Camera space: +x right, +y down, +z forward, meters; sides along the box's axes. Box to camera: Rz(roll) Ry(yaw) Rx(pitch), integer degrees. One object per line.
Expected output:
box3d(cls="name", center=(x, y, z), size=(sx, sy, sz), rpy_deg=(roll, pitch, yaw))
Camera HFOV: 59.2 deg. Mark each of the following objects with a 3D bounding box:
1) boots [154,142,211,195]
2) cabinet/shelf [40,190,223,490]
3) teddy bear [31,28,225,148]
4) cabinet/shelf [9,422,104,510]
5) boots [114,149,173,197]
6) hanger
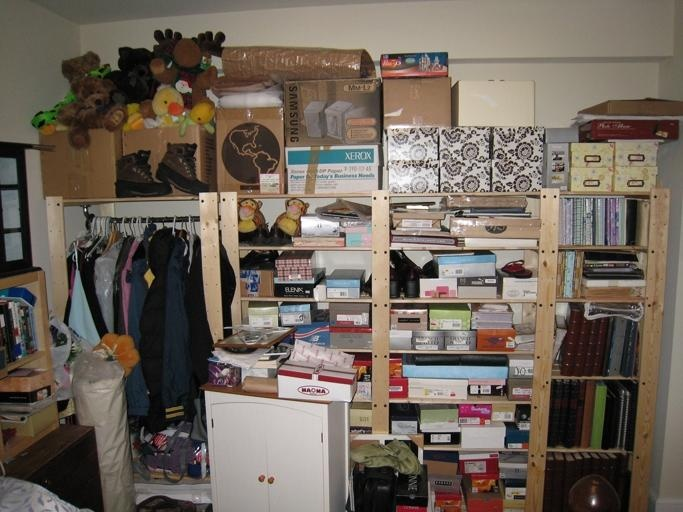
box3d(cls="boots", center=(-1.028, -0.600, 4.037), size=(0.436, 0.304, 0.149), rpy_deg=(20, 18, 10))
box3d(cls="cabinet/shelf", center=(-1.547, 0.232, 4.430), size=(1.216, 1.640, 1.149), rpy_deg=(0, -3, -4))
box3d(cls="teddy bear", center=(-1.446, -1.120, 4.108), size=(0.862, 0.561, 0.326), rpy_deg=(-3, 14, -4))
box3d(cls="cabinet/shelf", center=(-1.649, 1.284, 3.457), size=(0.258, 0.501, 0.466), rpy_deg=(4, 9, 32))
box3d(cls="boots", center=(-1.323, -0.559, 4.062), size=(0.403, 0.315, 0.156), rpy_deg=(1, 7, 6))
box3d(cls="hanger", center=(-1.354, -0.181, 4.252), size=(1.188, 0.356, 0.428), rpy_deg=(1, -38, 4))
